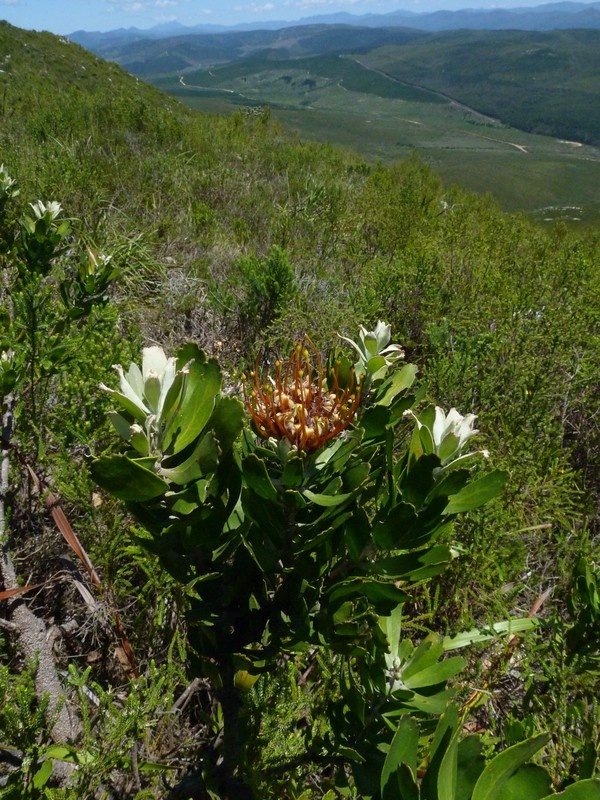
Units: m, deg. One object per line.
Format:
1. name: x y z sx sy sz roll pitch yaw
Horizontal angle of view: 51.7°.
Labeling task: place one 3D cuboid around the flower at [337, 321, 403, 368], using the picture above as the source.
1. flower: 0.185 -0.139 1.574 0.145 0.109 0.143 1 19 -14

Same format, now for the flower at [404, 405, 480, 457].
1. flower: 0.284 0.059 1.258 0.107 0.074 0.107 20 -1 19

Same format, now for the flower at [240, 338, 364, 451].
1. flower: -0.008 0.034 1.215 0.210 0.206 0.208 -6 -5 28
